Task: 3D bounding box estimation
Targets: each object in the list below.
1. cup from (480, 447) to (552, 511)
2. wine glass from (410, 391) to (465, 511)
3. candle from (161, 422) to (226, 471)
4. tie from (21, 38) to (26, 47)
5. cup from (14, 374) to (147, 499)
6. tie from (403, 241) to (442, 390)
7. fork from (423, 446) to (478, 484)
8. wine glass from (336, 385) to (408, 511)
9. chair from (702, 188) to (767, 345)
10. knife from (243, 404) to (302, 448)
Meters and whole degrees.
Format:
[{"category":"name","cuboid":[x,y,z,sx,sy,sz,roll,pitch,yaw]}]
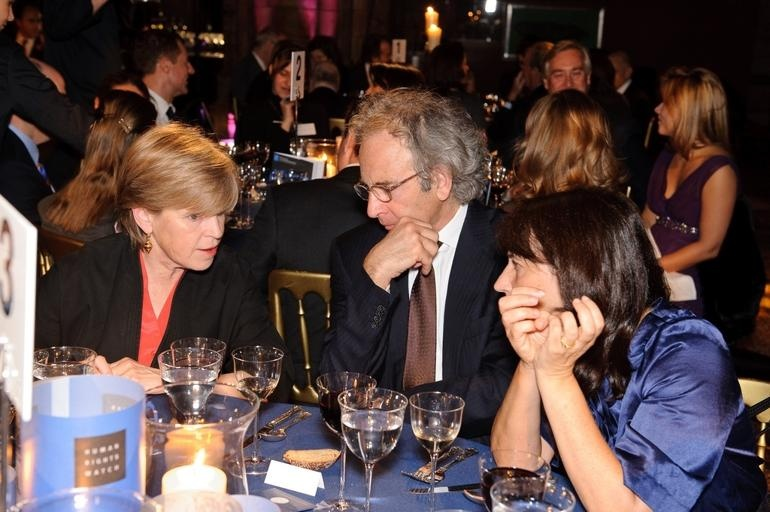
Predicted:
[{"category":"cup","cuboid":[0.306,0.518,1.584,0.151,0.114,0.166,0,6,0]},{"category":"wine glass","cuboid":[0.137,0.499,1.803,0.137,0.252,0.298,2,6,6]},{"category":"candle","cuboid":[-0.399,0.398,1.394,0.108,0.101,0.106,1,-3,1]},{"category":"tie","cuboid":[-3.232,-1.903,5.927,0.043,0.059,0.014,-3,-4,-10]},{"category":"cup","cuboid":[-0.613,0.372,1.352,0.222,0.237,0.125,3,6,14]},{"category":"tie","cuboid":[0.130,0.267,2.436,0.114,0.427,0.095,2,6,2]},{"category":"fork","cuboid":[0.176,0.551,1.837,0.059,0.014,0.185,14,23,28]},{"category":"wine glass","cuboid":[-0.035,0.494,1.744,0.181,0.274,0.304,1,6,-3]},{"category":"chair","cuboid":[2.031,0.081,3.815,0.339,0.863,0.236,1,6,-12]},{"category":"knife","cuboid":[-0.333,0.498,1.993,0.049,0.030,0.345,31,13,8]}]
